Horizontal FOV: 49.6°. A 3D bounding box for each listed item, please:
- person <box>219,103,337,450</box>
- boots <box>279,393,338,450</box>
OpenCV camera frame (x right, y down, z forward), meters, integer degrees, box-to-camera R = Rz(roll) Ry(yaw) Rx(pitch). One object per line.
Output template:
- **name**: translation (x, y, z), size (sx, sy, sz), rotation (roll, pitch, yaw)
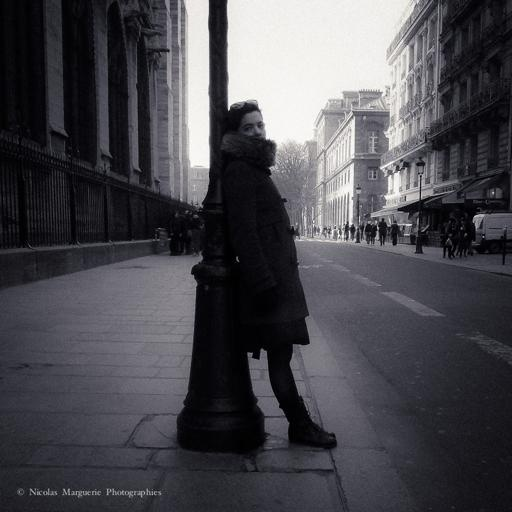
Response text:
- **person**: translation (0.096, 0.104, 2.896), size (0.534, 1.859, 0.521), rotation (-1, 5, -5)
- **boots**: translation (0.294, 0.916, 3.080), size (0.325, 0.344, 0.157), rotation (-1, 2, 21)
